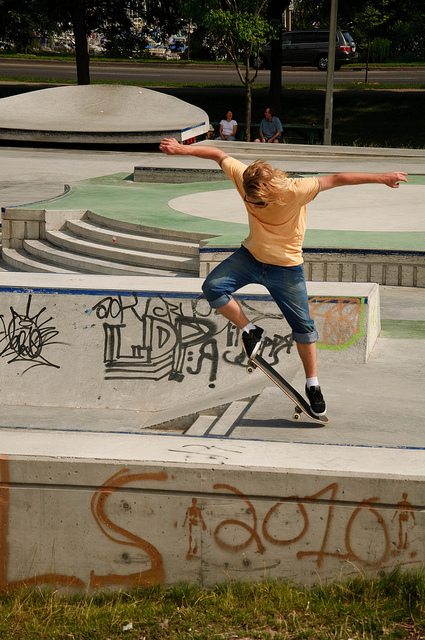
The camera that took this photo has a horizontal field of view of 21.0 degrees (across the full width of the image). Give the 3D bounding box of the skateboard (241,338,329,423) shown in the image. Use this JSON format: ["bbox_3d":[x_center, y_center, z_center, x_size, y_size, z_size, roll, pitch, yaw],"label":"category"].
[{"bbox_3d":[0.494,0.428,7.613,0.678,0.100,0.146,40,12,13],"label":"skateboard"}]
